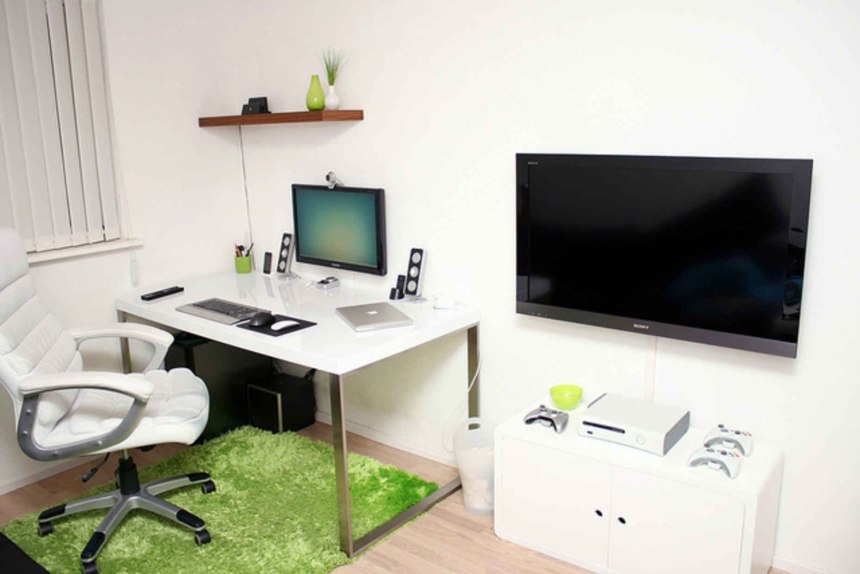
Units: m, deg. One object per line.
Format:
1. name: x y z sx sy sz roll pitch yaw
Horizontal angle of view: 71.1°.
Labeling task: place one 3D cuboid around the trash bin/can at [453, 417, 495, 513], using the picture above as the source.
1. trash bin/can: 0.238 0.945 3.246 0.195 0.462 0.280 -5 15 -27

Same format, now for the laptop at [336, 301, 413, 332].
1. laptop: -0.322 0.151 3.249 0.336 0.049 0.390 -4 14 -23

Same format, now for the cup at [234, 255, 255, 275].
1. cup: -1.274 -0.156 4.127 0.109 0.123 0.101 2 14 0

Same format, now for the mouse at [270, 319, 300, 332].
1. mouse: -0.756 0.194 3.110 0.059 0.025 0.096 20 25 36

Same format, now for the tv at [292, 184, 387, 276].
1. tv: -0.544 -0.371 3.722 0.575 0.409 0.062 9 24 28

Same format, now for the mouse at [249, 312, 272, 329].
1. mouse: -0.885 0.171 3.137 0.066 0.034 0.106 7 14 20

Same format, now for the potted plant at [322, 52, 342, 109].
1. potted plant: -0.591 -1.246 3.629 0.094 0.347 0.190 -1 14 -10

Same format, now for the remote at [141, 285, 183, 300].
1. remote: -1.636 0.035 3.681 0.093 0.030 0.181 7 17 33

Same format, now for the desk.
1. desk: -0.852 0.667 3.667 2.052 0.935 1.140 5 10 40
